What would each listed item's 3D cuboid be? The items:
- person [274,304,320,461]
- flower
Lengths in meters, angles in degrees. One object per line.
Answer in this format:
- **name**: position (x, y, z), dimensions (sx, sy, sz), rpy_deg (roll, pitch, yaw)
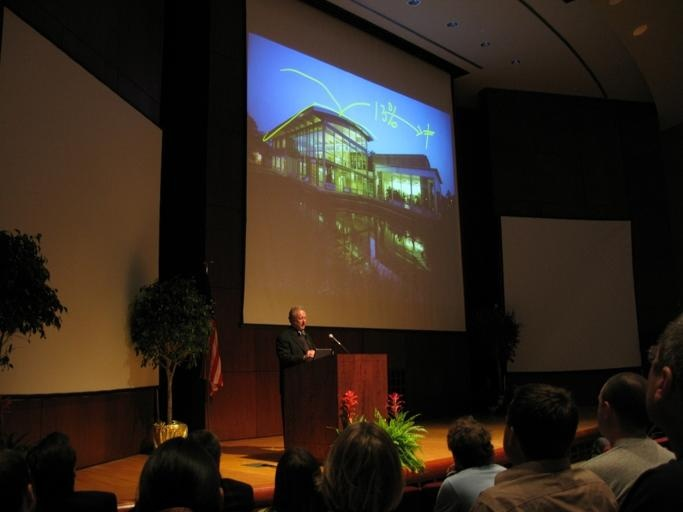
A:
- **person**: position (-0.464, 1.242, 5.807), dimensions (0.391, 1.457, 1.165), rpy_deg (-1, -10, -7)
- **flower**: position (0.445, 1.573, 5.034), dimensions (0.561, 0.627, 0.655), rpy_deg (6, 2, -32)
